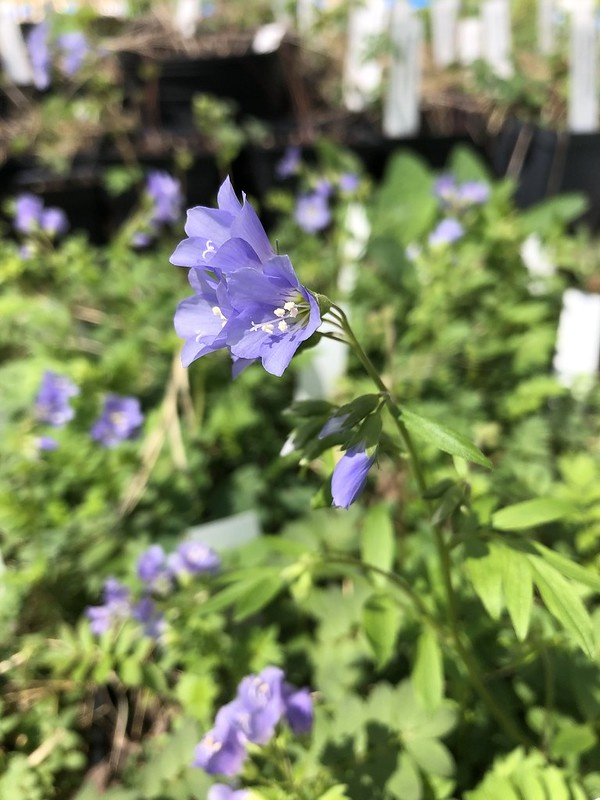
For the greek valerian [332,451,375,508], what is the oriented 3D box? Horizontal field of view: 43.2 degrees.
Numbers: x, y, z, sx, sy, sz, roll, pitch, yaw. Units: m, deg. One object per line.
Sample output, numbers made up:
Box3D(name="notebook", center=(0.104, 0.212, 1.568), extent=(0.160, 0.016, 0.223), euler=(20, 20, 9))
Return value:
Box3D(name="greek valerian", center=(0.072, 0.112, 1.110), extent=(0.032, 0.062, 0.086), euler=(-1, 58, 61))
